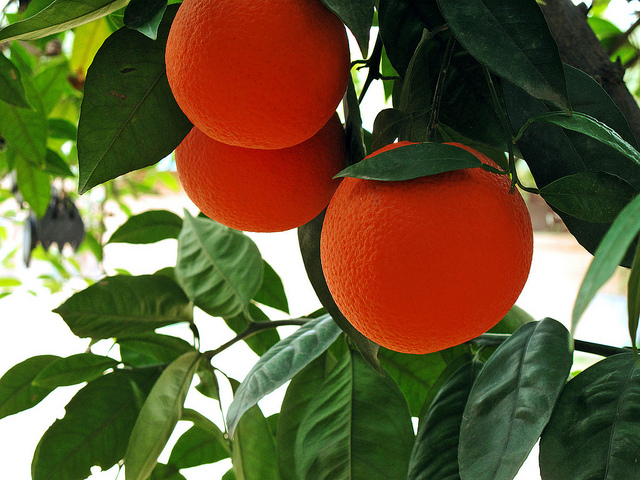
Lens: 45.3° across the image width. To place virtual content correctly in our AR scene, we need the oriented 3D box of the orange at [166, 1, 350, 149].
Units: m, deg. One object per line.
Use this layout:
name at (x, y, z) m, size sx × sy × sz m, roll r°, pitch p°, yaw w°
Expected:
orange at (-0.044, -0.116, 0.580) m, size 0.102 × 0.107 × 0.110 m, roll 14°, pitch -50°, yaw 11°

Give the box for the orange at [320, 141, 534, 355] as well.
orange at (0.073, 0.011, 0.596) m, size 0.134 × 0.138 × 0.154 m, roll -1°, pitch -101°, yaw -5°

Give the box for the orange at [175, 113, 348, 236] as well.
orange at (-0.044, -0.072, 0.580) m, size 0.093 × 0.098 × 0.103 m, roll 11°, pitch -50°, yaw 9°
